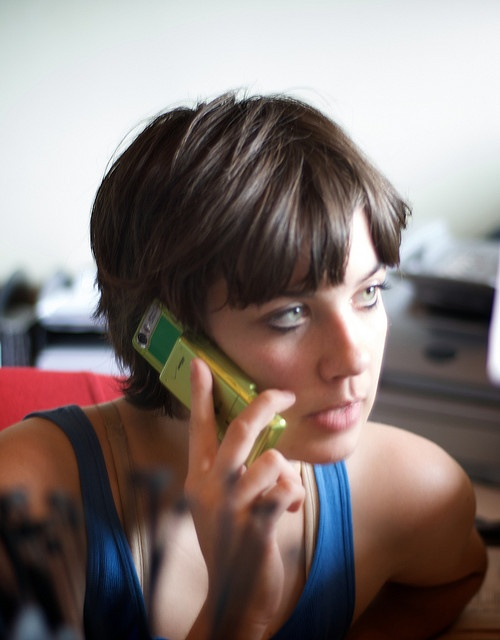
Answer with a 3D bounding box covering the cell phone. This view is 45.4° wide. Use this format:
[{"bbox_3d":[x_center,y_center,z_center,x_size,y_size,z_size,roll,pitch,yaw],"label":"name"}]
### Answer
[{"bbox_3d":[-0.084,0.068,0.861,0.216,0.180,0.056,9,18,41],"label":"cell phone"}]
